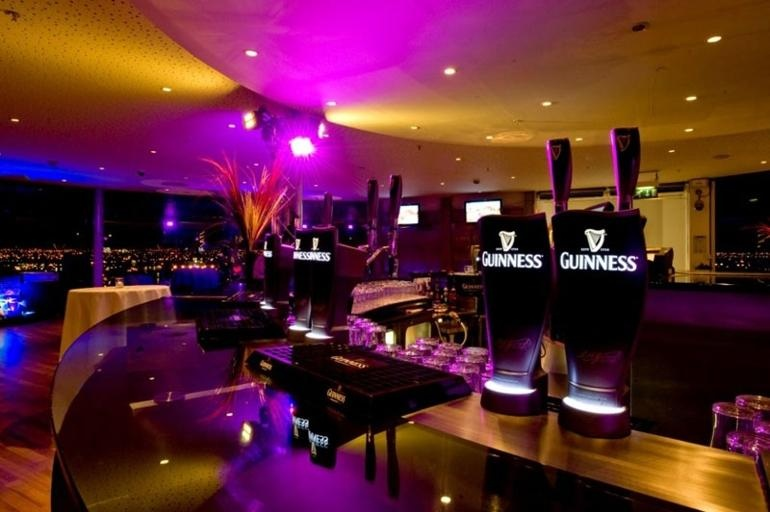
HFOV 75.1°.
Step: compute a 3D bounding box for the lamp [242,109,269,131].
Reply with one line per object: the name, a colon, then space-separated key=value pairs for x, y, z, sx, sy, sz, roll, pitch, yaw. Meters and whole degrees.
lamp: x=-1.600 y=-1.709 z=6.233 sx=0.350 sy=0.229 sz=0.197 roll=1 pitch=4 yaw=37
